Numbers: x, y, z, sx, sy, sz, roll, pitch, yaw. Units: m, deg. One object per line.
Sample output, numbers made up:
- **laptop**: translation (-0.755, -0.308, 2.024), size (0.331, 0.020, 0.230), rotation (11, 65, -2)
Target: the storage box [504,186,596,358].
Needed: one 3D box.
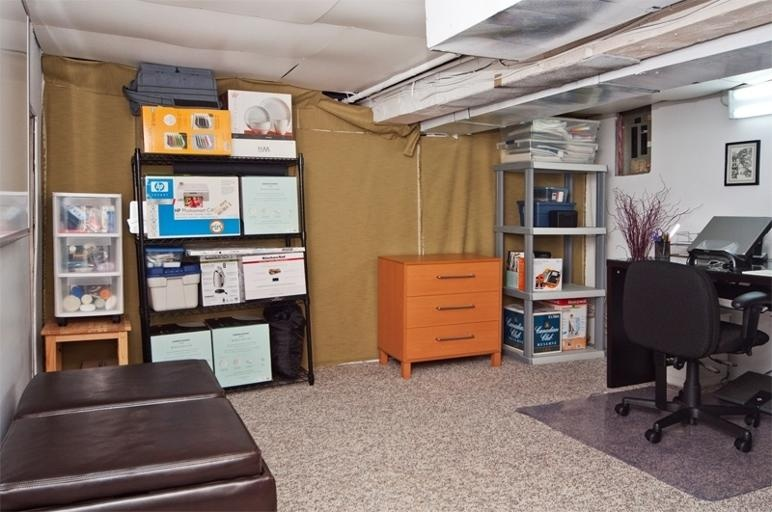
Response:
- **storage box**: translation (1.552, 0.099, 5.302), size (0.930, 1.525, 0.907), rotation (-2, 14, -5)

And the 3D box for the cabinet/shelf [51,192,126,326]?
- **cabinet/shelf**: translation (-2.099, 0.008, 3.980), size (0.477, 0.871, 0.333), rotation (-5, 15, -16)

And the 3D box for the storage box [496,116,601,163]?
- **storage box**: translation (1.477, -0.934, 5.179), size (0.696, 0.264, 0.520), rotation (-1, 4, -23)

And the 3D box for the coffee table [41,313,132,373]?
- **coffee table**: translation (-2.087, 0.523, 3.975), size (0.576, 0.420, 0.535), rotation (-1, 1, -33)

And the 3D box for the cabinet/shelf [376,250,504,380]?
- **cabinet/shelf**: translation (0.502, 0.490, 5.013), size (1.037, 0.988, 0.622), rotation (-5, 15, -20)

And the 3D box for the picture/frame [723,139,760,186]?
- **picture/frame**: translation (2.738, -0.691, 4.325), size (0.082, 0.349, 0.289), rotation (-6, 15, -19)

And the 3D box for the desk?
- **desk**: translation (2.085, 0.553, 3.860), size (0.513, 0.871, 1.254), rotation (7, -7, -33)
